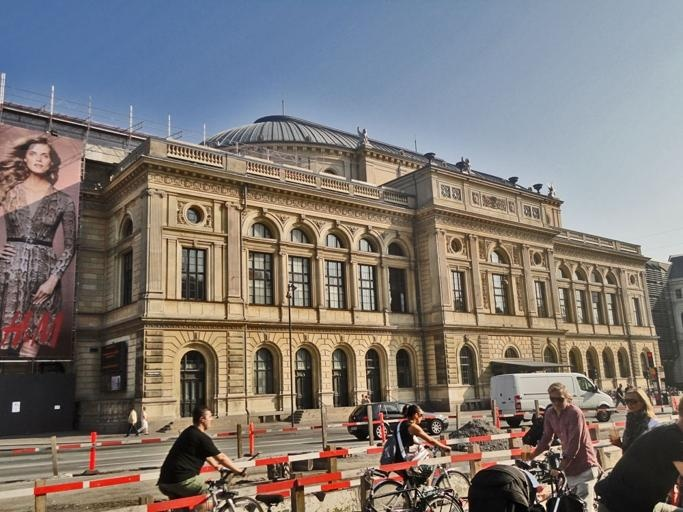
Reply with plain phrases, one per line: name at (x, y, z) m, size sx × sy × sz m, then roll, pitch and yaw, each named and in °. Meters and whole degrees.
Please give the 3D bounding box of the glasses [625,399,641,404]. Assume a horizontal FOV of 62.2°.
glasses at (5.074, 2.520, 9.879) m, size 0.133 × 0.047 × 0.127 m, roll 32°, pitch -29°, yaw -21°

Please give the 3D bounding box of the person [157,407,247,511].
person at (-2.468, 3.327, 9.698) m, size 1.158 × 1.464 × 0.490 m, roll 2°, pitch -18°, yaw -19°

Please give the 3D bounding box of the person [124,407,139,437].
person at (-11.430, 9.080, 31.302) m, size 0.650 × 1.538 × 1.576 m, roll 2°, pitch -18°, yaw -19°

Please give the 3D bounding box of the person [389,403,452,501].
person at (1.538, 3.967, 11.428) m, size 1.550 × 1.733 × 0.963 m, roll 3°, pitch -17°, yaw 5°
